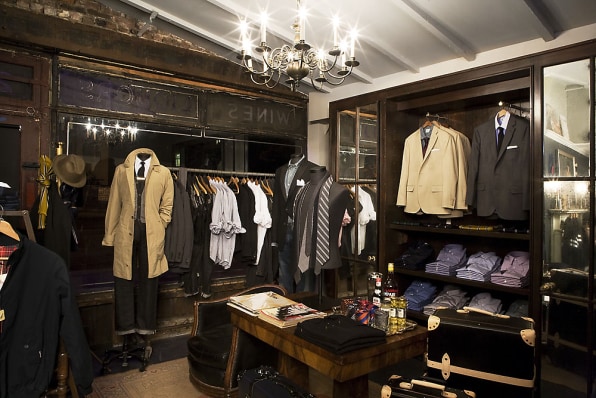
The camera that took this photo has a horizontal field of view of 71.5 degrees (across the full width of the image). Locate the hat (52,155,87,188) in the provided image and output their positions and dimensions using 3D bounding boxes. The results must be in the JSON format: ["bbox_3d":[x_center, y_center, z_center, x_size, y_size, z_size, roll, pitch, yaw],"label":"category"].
[{"bbox_3d":[-2.531,-0.303,4.562,0.304,0.358,0.202,0,3,-28],"label":"hat"}]

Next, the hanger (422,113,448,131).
[{"bbox_3d":[1.803,-1.015,5.437,0.509,0.266,0.153,-7,9,-42],"label":"hanger"}]

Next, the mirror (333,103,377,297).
[{"bbox_3d":[0.787,0.024,5.700,0.148,2.597,0.833,0,3,-35],"label":"mirror"}]

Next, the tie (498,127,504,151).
[{"bbox_3d":[2.315,-0.681,4.719,0.067,0.262,0.110,3,3,24],"label":"tie"}]

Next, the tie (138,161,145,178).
[{"bbox_3d":[-1.882,-0.348,4.944,0.083,0.180,0.085,1,3,-17],"label":"tie"}]

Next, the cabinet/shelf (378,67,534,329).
[{"bbox_3d":[2.008,-0.098,5.037,1.849,2.648,0.736,4,4,38],"label":"cabinet/shelf"}]

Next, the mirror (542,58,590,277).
[{"bbox_3d":[2.675,-0.340,4.130,0.450,2.033,0.111,3,3,32],"label":"mirror"}]

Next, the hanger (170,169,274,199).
[{"bbox_3d":[-1.062,-0.182,5.489,0.753,0.234,0.264,8,-14,-27],"label":"hanger"}]
